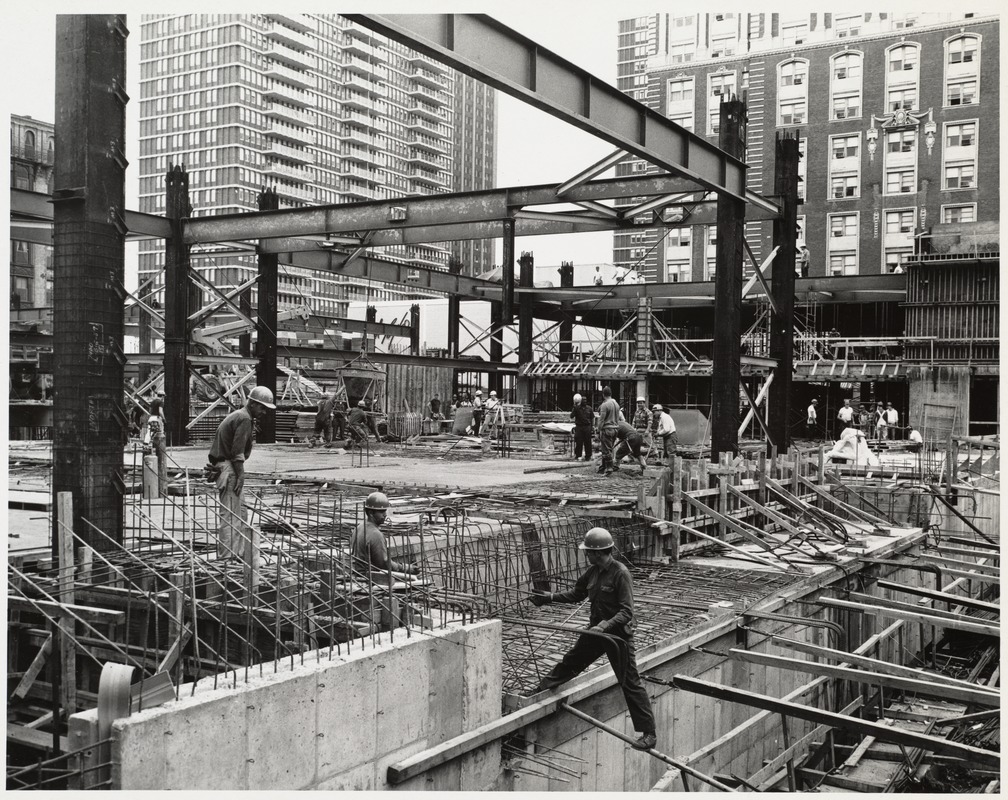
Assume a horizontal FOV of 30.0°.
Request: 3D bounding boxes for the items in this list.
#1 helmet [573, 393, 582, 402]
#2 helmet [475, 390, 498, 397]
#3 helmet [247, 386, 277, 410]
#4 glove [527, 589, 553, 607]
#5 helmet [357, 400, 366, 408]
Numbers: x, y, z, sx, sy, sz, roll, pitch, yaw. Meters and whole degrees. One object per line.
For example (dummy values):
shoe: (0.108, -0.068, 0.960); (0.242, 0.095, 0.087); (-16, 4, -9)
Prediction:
helmet: (2.046, -0.074, 53.213); (0.191, 0.194, 0.201); (1, 4, 20)
helmet: (-0.749, -0.256, 73.184); (0.618, 0.357, 0.471); (-3, -1, 22)
helmet: (-5.247, -0.072, 40.218); (0.540, 0.331, 0.432); (14, 5, 26)
glove: (0.742, 4.109, 39.167); (0.255, 0.309, 0.949); (-1, 9, -23)
helmet: (-4.520, 0.084, 59.388); (0.212, 0.314, 0.299); (-1, -10, -6)
